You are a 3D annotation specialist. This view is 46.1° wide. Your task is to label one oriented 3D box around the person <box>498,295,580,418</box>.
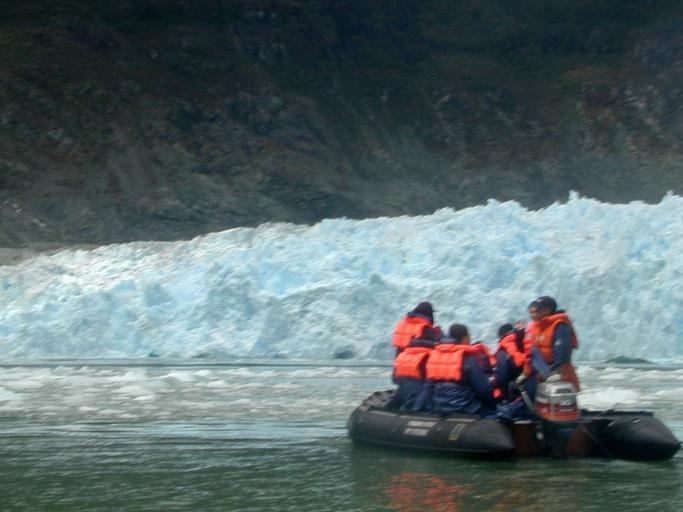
[{"bbox_3d":[2.640,1.360,10.606,0.934,1.650,0.405,-4,-3,36],"label":"person"}]
